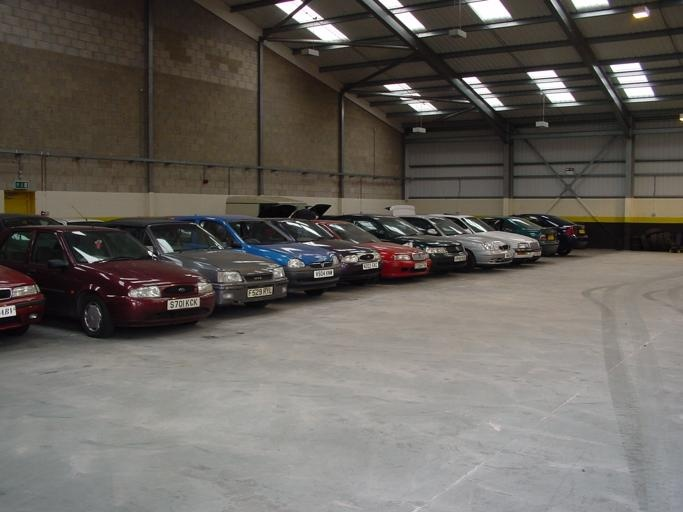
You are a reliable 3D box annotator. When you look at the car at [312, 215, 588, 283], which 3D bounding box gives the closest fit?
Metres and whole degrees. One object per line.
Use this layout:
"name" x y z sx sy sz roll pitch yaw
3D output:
"car" 1.401 -0.235 12.970 3.463 1.672 2.941 1 6 10
